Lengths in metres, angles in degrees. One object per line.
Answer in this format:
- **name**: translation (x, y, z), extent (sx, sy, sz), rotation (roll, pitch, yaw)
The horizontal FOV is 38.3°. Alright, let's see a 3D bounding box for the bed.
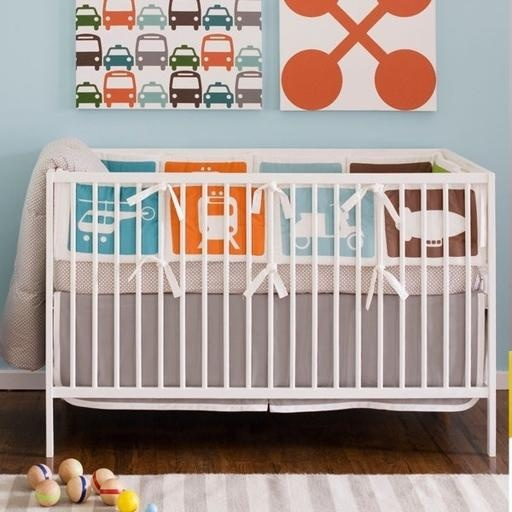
- **bed**: translation (0.034, 0.442, 2.591), extent (1.316, 1.030, 0.821), rotation (0, -2, 0)
